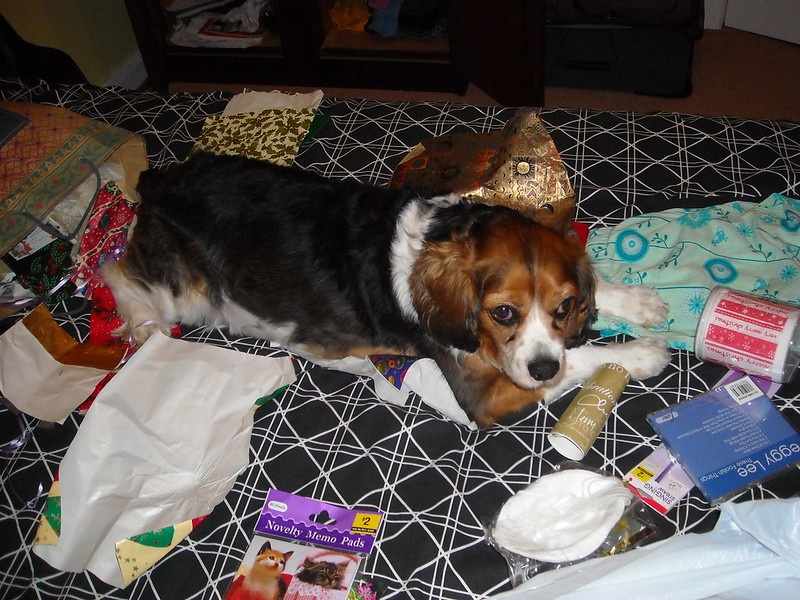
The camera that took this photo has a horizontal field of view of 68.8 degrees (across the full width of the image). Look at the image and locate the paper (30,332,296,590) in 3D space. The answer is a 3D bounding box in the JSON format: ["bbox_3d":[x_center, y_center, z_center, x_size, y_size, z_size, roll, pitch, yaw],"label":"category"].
[{"bbox_3d":[-1.120,0.796,2.861,0.783,0.273,1.094,21,64,9],"label":"paper"}]

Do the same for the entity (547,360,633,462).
[{"bbox_3d":[0.860,0.480,2.713,0.204,0.204,0.587,30,58,13],"label":"entity"}]
